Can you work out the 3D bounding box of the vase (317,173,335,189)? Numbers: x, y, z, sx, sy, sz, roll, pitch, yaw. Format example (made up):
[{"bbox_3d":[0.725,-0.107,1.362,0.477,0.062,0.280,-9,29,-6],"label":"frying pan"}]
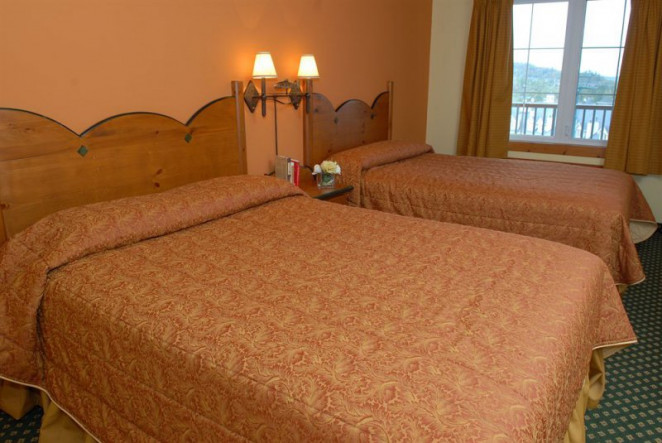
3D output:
[{"bbox_3d":[-0.063,-0.410,4.623,0.163,0.153,0.161,-2,7,-17],"label":"vase"}]

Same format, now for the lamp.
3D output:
[{"bbox_3d":[-0.476,-1.357,4.510,0.263,0.578,0.867,16,23,36],"label":"lamp"}]

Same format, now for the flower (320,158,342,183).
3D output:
[{"bbox_3d":[-0.016,-0.513,4.629,0.213,0.214,0.215,11,20,29],"label":"flower"}]

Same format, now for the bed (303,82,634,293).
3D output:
[{"bbox_3d":[1.525,-0.354,5.011,3.005,1.584,2.020,10,29,30],"label":"bed"}]

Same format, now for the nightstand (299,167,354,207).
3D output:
[{"bbox_3d":[-0.126,-0.332,4.651,0.439,0.264,0.439,11,19,24],"label":"nightstand"}]
